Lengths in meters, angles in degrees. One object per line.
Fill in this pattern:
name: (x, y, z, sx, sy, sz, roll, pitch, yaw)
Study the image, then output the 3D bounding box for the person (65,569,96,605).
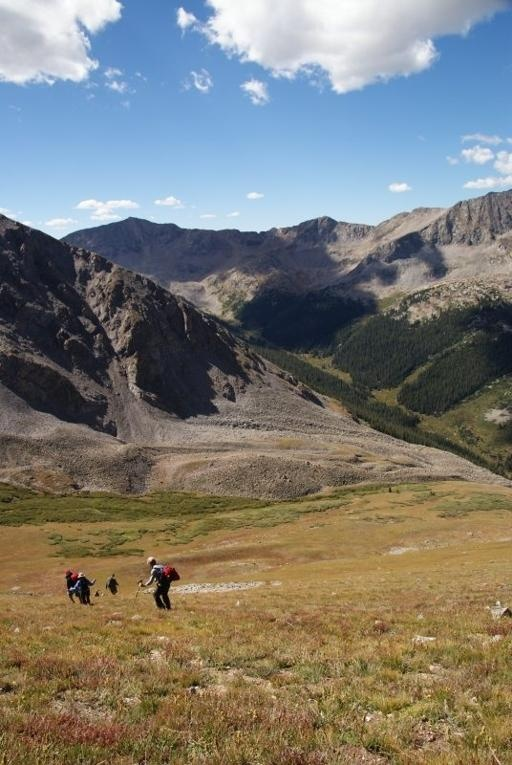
person: (-7.912, 9.105, 33.708, 0.779, 1.363, 2.198, 4, -7, -27)

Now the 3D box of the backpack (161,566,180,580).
backpack: (-3.322, 7.312, 29.075, 0.506, 0.538, 0.778, 1, -6, -10)
